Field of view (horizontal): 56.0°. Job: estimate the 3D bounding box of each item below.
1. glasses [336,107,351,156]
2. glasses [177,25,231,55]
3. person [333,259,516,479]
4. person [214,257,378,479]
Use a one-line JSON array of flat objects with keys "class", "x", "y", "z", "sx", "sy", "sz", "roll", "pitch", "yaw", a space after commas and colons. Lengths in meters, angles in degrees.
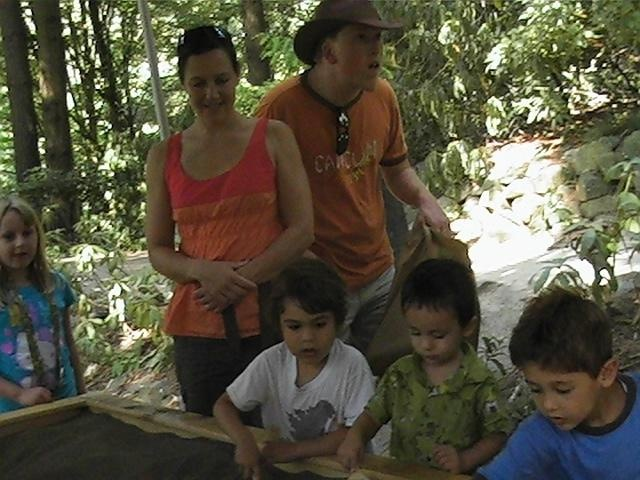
[{"class": "glasses", "x": 0.103, "y": -0.465, "z": 2.634, "sx": 0.051, "sy": 0.194, "sz": 0.031, "roll": -1, "pitch": 16, "yaw": -3}, {"class": "glasses", "x": -0.445, "y": -0.764, "z": 2.304, "sx": 0.125, "sy": 0.056, "sz": 0.151, "roll": -6, "pitch": 6, "yaw": 11}, {"class": "person", "x": 0.352, "y": 0.363, "z": 2.395, "sx": 0.672, "sy": 1.068, "sz": 0.623, "roll": 2, "pitch": 1, "yaw": 37}, {"class": "person", "x": -0.051, "y": 0.385, "z": 2.298, "sx": 0.665, "sy": 0.921, "sz": 0.625, "roll": 1, "pitch": 6, "yaw": 9}]
